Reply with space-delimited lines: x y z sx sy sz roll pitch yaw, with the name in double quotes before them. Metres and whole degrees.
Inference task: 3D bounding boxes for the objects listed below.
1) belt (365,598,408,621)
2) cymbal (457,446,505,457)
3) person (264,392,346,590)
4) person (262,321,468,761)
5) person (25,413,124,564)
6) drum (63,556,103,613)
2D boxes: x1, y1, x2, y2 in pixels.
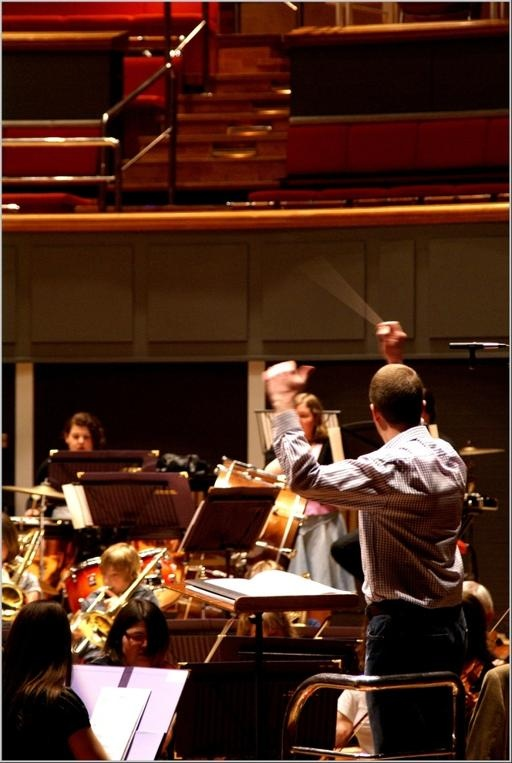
"belt" 0.296 0.519 1.767 0.075 0.043 0.056 17 -21 -36
"cymbal" 1.729 0.542 5.866 0.350 0.068 0.335 -3 0 -14
"person" 0.388 0.749 5.068 0.493 1.344 0.411 -1 3 -31
"person" 0.275 0.343 1.770 0.452 0.918 0.404 0 -1 14
"person" -1.008 0.593 4.641 0.593 0.863 0.271 6 -17 -31
"drum" -0.834 1.015 3.877 0.275 0.263 0.254 2 -18 -21
